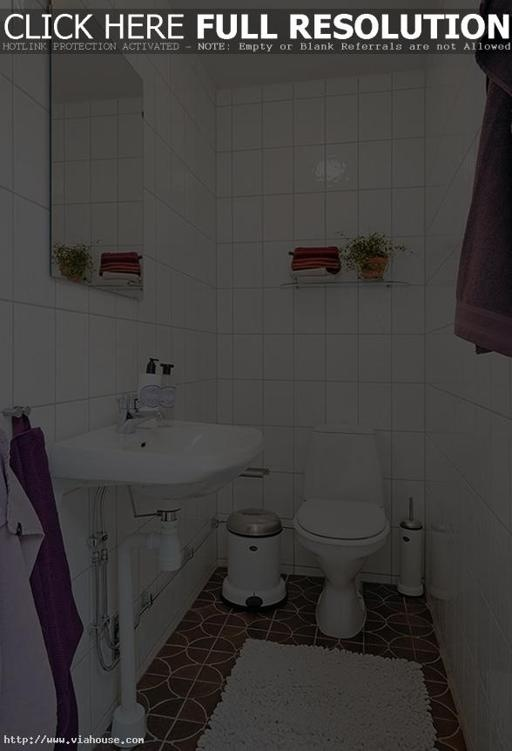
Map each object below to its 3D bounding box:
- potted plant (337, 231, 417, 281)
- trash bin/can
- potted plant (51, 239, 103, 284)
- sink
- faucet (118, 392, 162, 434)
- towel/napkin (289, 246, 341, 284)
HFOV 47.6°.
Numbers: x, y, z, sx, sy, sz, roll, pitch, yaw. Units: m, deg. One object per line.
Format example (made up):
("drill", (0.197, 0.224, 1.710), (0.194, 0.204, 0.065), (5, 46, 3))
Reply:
("potted plant", (0.515, -0.530, 2.596), (0.209, 0.195, 0.248), (3, 13, 1))
("trash bin/can", (-0.008, 0.769, 2.487), (0.249, 0.374, 0.321), (0, 2, -1))
("potted plant", (-0.460, -0.289, 1.482), (0.061, 0.030, 0.090), (16, 38, -5))
("sink", (-0.223, 0.212, 1.577), (0.438, 0.153, 0.550), (1, 3, 15))
("faucet", (-0.347, 0.107, 1.657), (0.057, 0.116, 0.157), (3, 7, 20))
("towel/napkin", (0.275, -0.503, 2.589), (0.236, 0.124, 0.150), (0, 3, -1))
